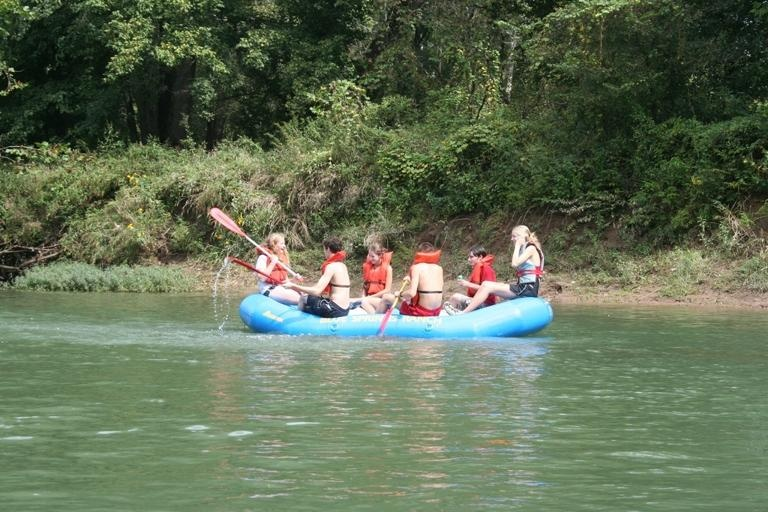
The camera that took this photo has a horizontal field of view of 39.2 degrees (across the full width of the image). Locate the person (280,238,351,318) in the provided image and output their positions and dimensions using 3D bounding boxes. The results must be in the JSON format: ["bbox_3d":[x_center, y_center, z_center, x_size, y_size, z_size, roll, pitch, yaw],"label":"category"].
[{"bbox_3d":[-1.260,0.589,21.568,1.500,1.735,1.138,3,1,17],"label":"person"}]

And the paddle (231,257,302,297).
[{"bbox_3d":[-2.610,0.481,24.407,1.590,0.165,0.206,34,-43,-16],"label":"paddle"}]

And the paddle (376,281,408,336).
[{"bbox_3d":[0.262,0.896,21.175,0.282,0.132,1.794,-14,28,36],"label":"paddle"}]

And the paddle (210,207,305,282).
[{"bbox_3d":[-3.149,-0.307,27.572,4.000,0.274,0.452,30,17,29],"label":"paddle"}]

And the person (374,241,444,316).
[{"bbox_3d":[0.638,0.490,21.542,1.173,1.413,1.325,8,10,34],"label":"person"}]
